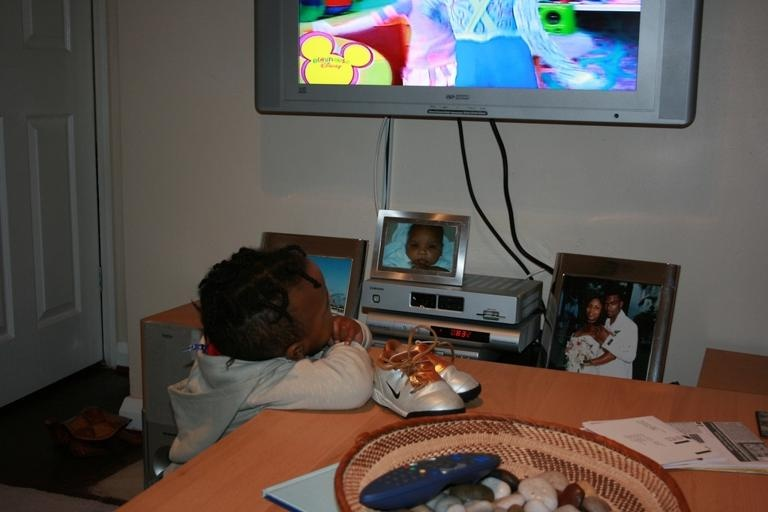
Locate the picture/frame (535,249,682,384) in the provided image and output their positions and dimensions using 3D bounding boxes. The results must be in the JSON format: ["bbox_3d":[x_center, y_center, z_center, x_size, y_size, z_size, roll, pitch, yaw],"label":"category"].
[{"bbox_3d":[0.707,0.215,1.776,0.372,0.477,0.048,7,33,18],"label":"picture/frame"}]

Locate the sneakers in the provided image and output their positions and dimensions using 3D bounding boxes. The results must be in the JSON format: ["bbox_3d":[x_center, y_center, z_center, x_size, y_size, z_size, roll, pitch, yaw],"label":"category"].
[{"bbox_3d":[0.091,0.245,1.183,0.207,0.082,0.149,11,21,33],"label":"sneakers"}]
